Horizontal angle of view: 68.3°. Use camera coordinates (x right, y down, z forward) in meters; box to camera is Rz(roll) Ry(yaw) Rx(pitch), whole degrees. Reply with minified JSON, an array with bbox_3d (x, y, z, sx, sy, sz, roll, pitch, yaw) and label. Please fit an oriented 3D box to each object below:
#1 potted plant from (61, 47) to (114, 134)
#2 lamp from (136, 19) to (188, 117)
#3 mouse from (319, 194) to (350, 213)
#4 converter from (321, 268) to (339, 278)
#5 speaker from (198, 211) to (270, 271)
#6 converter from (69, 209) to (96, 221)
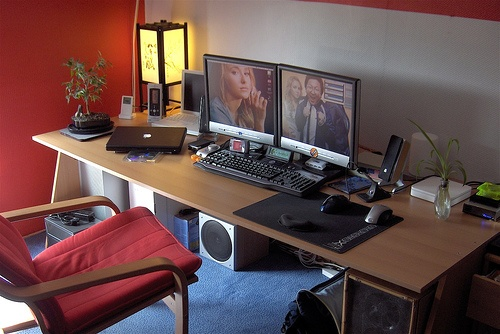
[{"bbox_3d":[-1.242,-0.530,2.850,0.374,0.828,0.337,-17,30,-40],"label":"potted plant"},{"bbox_3d":[-0.742,-0.806,3.155,0.253,0.839,0.387,18,27,37],"label":"lamp"},{"bbox_3d":[0.428,0.192,1.898,0.135,0.051,0.080,-22,34,-37],"label":"mouse"},{"bbox_3d":[0.564,0.755,2.629,0.073,0.019,0.078,-24,35,-36],"label":"converter"},{"bbox_3d":[-0.108,0.515,2.806,0.455,0.444,0.423,-16,27,-40],"label":"speaker"},{"bbox_3d":[-1.277,0.365,2.823,0.152,0.039,0.084,18,23,27],"label":"converter"}]
